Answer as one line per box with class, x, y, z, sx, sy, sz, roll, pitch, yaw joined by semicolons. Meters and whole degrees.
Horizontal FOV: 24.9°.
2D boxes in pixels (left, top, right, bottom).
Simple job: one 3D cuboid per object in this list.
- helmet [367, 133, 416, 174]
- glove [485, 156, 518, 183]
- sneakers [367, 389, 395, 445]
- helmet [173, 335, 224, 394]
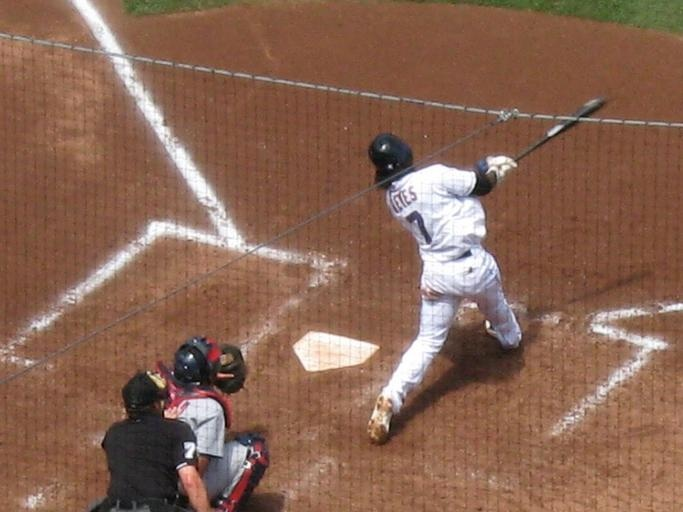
helmet;0.518;-1.165;17.814;0.564;0.482;0.411;-10;20;-21
glove;1.798;-0.999;17.669;0.330;0.253;0.246;3;45;0
sneakers;0.414;1.900;17.807;0.295;0.172;0.443;-17;33;32
helmet;-1.582;1.159;17.024;0.504;0.532;0.632;14;24;27
